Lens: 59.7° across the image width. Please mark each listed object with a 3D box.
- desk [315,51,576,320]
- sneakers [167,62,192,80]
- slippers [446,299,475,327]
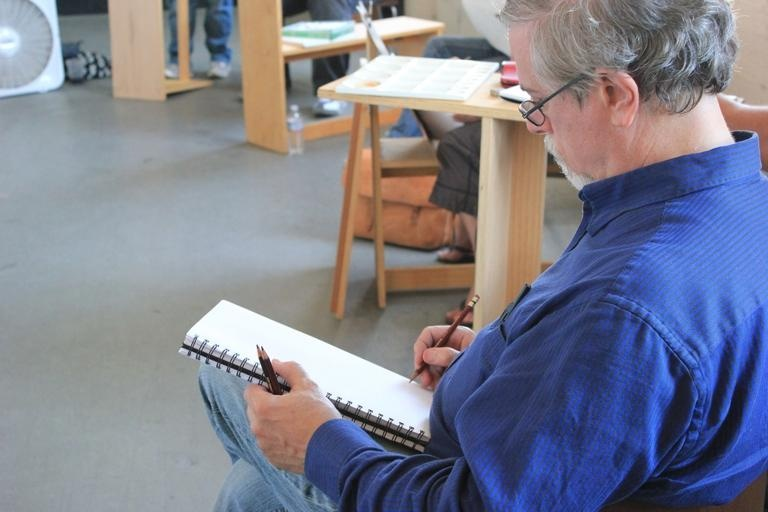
[{"bbox_3d":[0.249,-0.319,2.527,0.782,0.851,0.883,15,30,26],"label":"desk"},{"bbox_3d":[-1.450,-1.334,4.862,0.231,0.103,0.084,2,19,-15],"label":"sneakers"},{"bbox_3d":[0.252,0.197,2.225,0.084,0.064,0.200,-16,-19,-7],"label":"slippers"}]
